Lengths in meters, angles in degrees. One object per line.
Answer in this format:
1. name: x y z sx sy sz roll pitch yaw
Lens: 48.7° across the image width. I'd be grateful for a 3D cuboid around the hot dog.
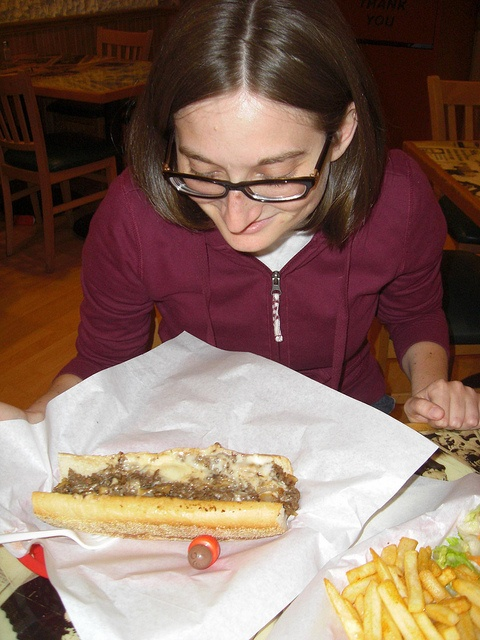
1. hot dog: -0.154 0.350 1.177 0.520 0.139 0.225 1 20 2
